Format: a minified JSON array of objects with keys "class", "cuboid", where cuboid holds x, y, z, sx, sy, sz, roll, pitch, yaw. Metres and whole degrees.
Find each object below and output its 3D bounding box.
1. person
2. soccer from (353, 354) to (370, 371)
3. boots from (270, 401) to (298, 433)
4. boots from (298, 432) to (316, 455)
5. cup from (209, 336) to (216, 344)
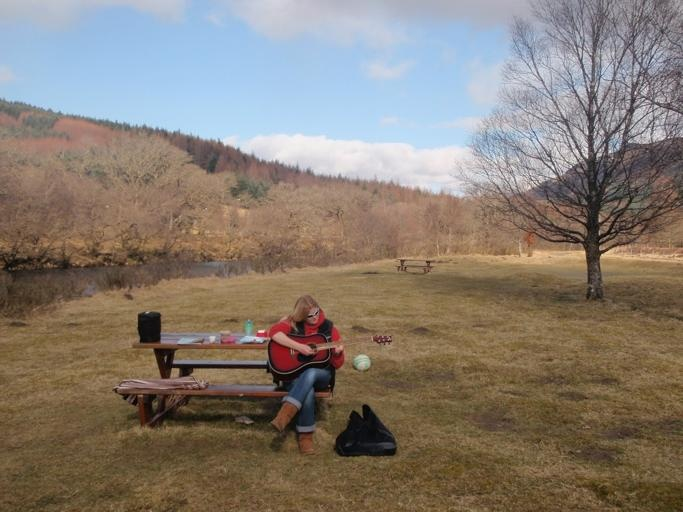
[{"class":"person","cuboid":[-0.654,1.903,9.486,1.398,1.069,2.931,11,39,-4]},{"class":"soccer","cuboid":[0.452,2.179,11.398,0.321,0.335,0.405,-8,6,-30]},{"class":"boots","cuboid":[-0.923,2.615,9.168,0.225,0.408,0.522,-1,0,41]},{"class":"boots","cuboid":[-0.582,3.082,9.255,0.227,0.276,0.211,-1,0,-11]},{"class":"cup","cuboid":[-2.292,1.486,9.977,0.099,0.099,0.102,0,-2,0]}]
